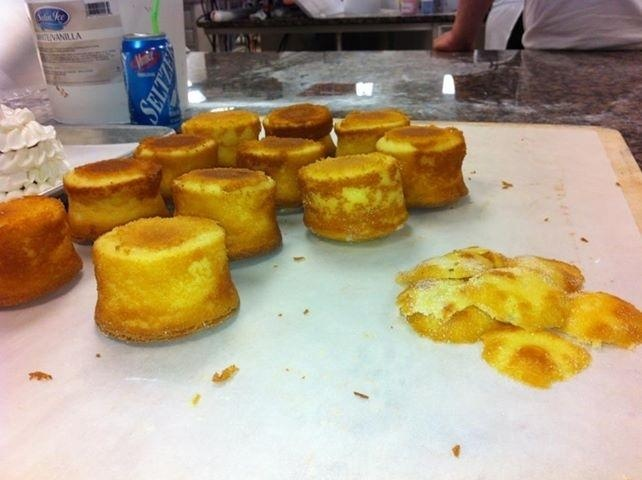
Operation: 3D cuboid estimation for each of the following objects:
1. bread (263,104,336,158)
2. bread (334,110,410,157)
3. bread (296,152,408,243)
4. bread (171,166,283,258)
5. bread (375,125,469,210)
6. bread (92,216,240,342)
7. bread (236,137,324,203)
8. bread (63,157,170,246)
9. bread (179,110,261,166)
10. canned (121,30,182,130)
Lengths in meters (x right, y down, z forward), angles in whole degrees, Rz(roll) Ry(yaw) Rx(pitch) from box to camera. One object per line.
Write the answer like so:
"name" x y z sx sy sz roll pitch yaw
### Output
"bread" -0.040 -0.248 1.049 0.147 0.081 0.132 -2 -6 -16
"bread" 0.126 -0.252 1.111 0.204 0.103 0.180 -4 28 2
"bread" 0.059 -0.085 0.947 0.208 0.117 0.187 -6 16 -12
"bread" -0.183 -0.049 0.896 0.222 0.132 0.201 -3 8 6
"bread" 0.228 -0.149 1.019 0.180 0.129 0.168 -17 15 -25
"bread" -0.245 0.046 0.742 0.219 0.107 0.188 -4 21 -20
"bread" -0.078 -0.155 1.001 0.157 0.096 0.146 -13 20 -30
"bread" -0.372 -0.057 0.902 0.177 0.102 0.163 -1 4 13
"bread" -0.217 -0.236 1.042 0.155 0.086 0.139 -9 22 -17
"canned" -0.411 -0.376 1.154 0.135 0.236 0.083 -24 40 -25
